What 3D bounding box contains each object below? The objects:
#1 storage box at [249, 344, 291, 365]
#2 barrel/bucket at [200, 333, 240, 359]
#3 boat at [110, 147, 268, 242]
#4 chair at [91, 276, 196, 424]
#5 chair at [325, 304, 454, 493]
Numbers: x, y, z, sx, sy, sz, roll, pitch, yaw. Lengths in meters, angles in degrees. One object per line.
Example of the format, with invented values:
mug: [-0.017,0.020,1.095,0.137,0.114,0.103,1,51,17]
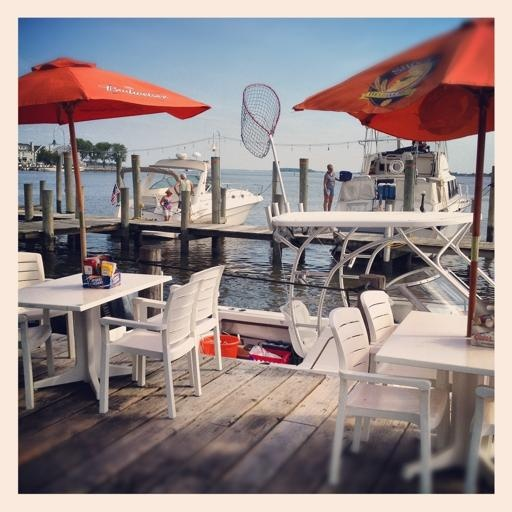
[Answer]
storage box: [0.125,0.899,4.663,0.277,0.091,0.182,1,3,12]
barrel/bucket: [-0.295,0.807,4.619,0.321,0.199,0.319,-1,-3,0]
boat: [-1.948,-2.283,18.039,2.577,1.780,5.259,4,7,24]
chair: [-0.686,0.550,3.262,0.596,0.810,0.520,1,11,10]
chair: [0.626,0.650,2.847,0.825,1.031,0.807,0,3,24]
